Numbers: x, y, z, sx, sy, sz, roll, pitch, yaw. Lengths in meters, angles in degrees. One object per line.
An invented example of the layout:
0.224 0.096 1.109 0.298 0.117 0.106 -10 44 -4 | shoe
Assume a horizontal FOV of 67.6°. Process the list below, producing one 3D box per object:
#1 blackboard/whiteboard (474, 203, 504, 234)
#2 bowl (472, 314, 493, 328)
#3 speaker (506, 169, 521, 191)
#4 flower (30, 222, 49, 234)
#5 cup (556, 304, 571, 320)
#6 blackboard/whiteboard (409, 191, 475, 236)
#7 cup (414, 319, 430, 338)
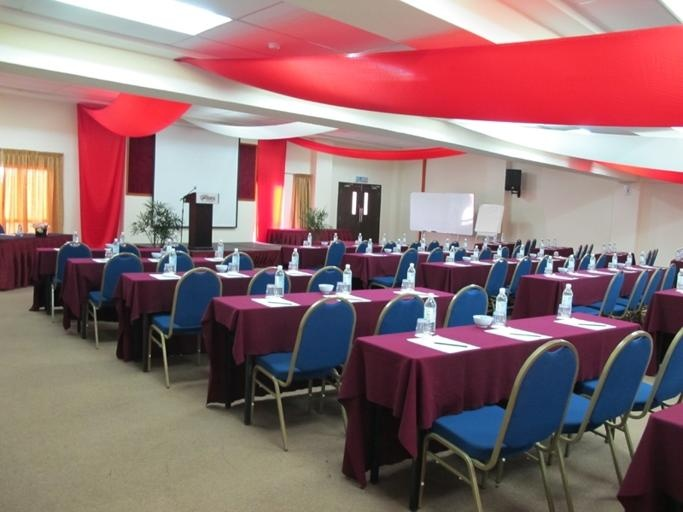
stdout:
4.708 -1.154 16.173 0.544 1.157 0.799 15 -6 -39 | blackboard/whiteboard
1.123 0.526 4.123 0.110 0.060 0.117 1 -1 0 | bowl
5.318 -2.339 15.894 0.538 0.875 0.572 0 2 21 | speaker
-5.576 -0.471 9.454 0.191 0.218 0.371 -5 12 -35 | flower
1.988 0.507 4.620 0.123 0.135 0.125 2 10 0 | cup
3.378 -1.457 17.272 2.373 1.338 0.356 11 13 40 | blackboard/whiteboard
0.612 0.530 3.801 0.135 0.112 0.117 0 10 -10 | cup
